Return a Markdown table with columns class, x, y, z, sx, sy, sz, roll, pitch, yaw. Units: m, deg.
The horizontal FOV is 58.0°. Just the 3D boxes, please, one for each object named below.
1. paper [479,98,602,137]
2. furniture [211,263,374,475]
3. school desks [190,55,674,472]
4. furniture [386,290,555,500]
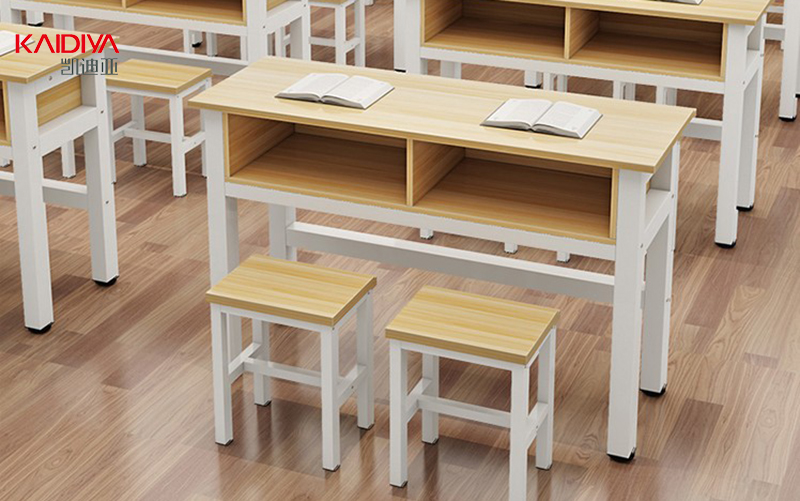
| class | x | y | z | sx | sy | sz | roll | pitch | yaw |
| --- | --- | --- | --- | --- | --- | --- | --- | --- | --- |
| paper | 0.500 | -0.467 | 2.529 | 0.357 | 0.054 | 0.243 | 11 | 31 | 19 |
| furniture | -0.405 | 0.456 | 2.647 | 0.765 | 0.635 | 0.450 | 13 | 34 | 20 |
| school desks | 0.125 | -0.020 | 2.696 | 1.972 | 0.937 | 0.610 | 4 | 25 | 3 |
| furniture | 0.244 | 0.533 | 2.501 | 0.701 | 0.622 | 0.456 | 10 | 33 | 19 |
